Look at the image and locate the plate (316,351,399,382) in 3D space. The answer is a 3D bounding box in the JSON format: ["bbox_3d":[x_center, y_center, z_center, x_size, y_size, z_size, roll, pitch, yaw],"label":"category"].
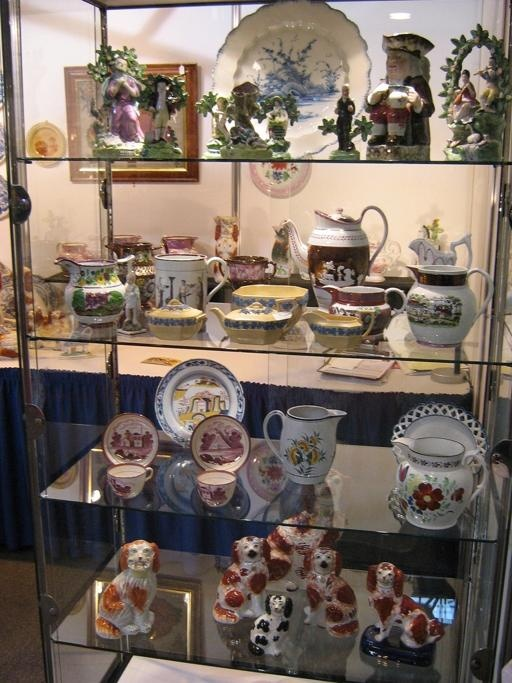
[{"bbox_3d":[0.376,0.101,2.197,0.188,0.028,0.206,9,23,27],"label":"plate"}]

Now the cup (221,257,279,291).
[{"bbox_3d":[-0.013,-0.165,1.321,0.101,0.066,0.079,3,20,4],"label":"cup"}]

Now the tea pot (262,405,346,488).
[{"bbox_3d":[0.095,0.215,1.210,0.173,0.162,0.152,3,9,20],"label":"tea pot"}]

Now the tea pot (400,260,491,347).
[{"bbox_3d":[0.319,-0.064,1.051,0.167,0.146,0.124,1,11,3],"label":"tea pot"}]

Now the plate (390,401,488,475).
[{"bbox_3d":[0.372,0.198,1.146,0.166,0.156,0.024,-2,-6,29],"label":"plate"}]

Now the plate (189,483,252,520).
[{"bbox_3d":[-0.071,0.320,1.138,0.118,0.029,0.120,0,8,-4],"label":"plate"}]

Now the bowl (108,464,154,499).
[{"bbox_3d":[-0.270,0.297,1.212,0.060,0.042,0.073,0,-2,27],"label":"bowl"}]

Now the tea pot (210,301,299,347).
[{"bbox_3d":[-0.001,-0.033,1.043,0.158,0.074,0.101,0,8,-4],"label":"tea pot"}]

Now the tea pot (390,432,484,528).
[{"bbox_3d":[0.325,0.258,1.105,0.188,0.146,0.147,4,9,13],"label":"tea pot"}]

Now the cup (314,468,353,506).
[{"bbox_3d":[0.168,0.306,1.205,0.055,0.048,0.039,-2,5,-16],"label":"cup"}]

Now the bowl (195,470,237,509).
[{"bbox_3d":[-0.083,0.295,1.147,0.066,0.044,0.066,0,2,0],"label":"bowl"}]

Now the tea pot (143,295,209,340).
[{"bbox_3d":[-0.157,-0.046,1.027,0.100,0.056,0.076,4,9,17],"label":"tea pot"}]

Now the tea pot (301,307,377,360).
[{"bbox_3d":[0.150,-0.019,1.025,0.123,0.074,0.093,3,9,20],"label":"tea pot"}]

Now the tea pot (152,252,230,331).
[{"bbox_3d":[-0.141,-0.120,1.199,0.191,0.173,0.117,-2,11,-15],"label":"tea pot"}]

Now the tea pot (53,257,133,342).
[{"bbox_3d":[-0.305,-0.087,1.082,0.174,0.161,0.122,-2,13,-15],"label":"tea pot"}]
